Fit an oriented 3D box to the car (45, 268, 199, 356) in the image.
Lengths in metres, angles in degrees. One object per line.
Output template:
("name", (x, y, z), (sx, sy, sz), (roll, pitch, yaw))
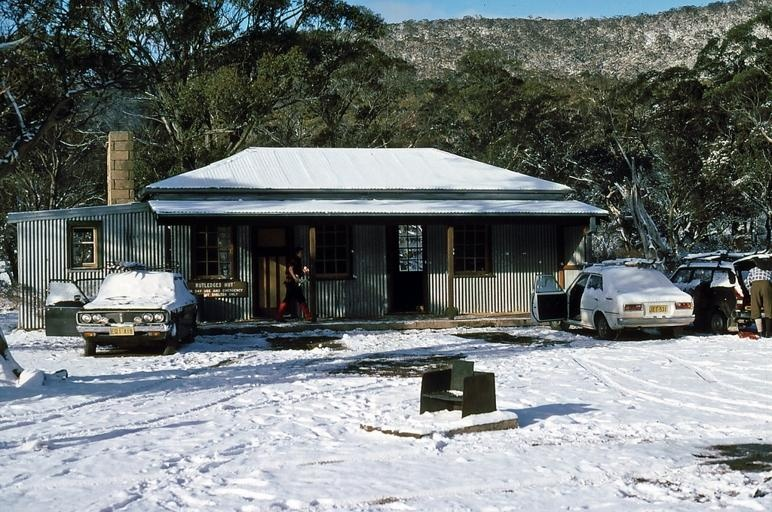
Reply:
("car", (-6.449, 1.488, 21.556), (2.250, 2.099, 2.498), (-1, 8, -1))
